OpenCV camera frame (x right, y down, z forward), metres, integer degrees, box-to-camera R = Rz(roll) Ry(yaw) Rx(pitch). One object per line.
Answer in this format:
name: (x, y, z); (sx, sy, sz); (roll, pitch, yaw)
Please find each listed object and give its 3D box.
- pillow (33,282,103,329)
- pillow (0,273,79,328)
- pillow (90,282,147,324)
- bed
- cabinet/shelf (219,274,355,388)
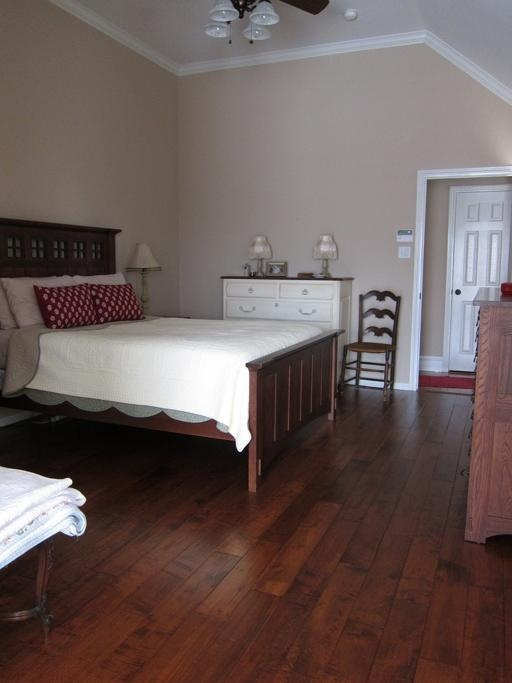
pillow: (-1.318, -0.245, 3.503); (0.130, 0.291, 0.463); (-18, -2, 22)
pillow: (-1.481, -0.327, 3.377); (0.133, 0.312, 0.496); (-25, -7, 32)
pillow: (-1.105, -0.309, 3.928); (0.127, 0.295, 0.473); (-22, -2, 18)
bed: (-0.651, -0.124, 3.622); (2.213, 1.544, 1.777); (3, 11, 24)
cabinet/shelf: (0.301, -0.115, 3.890); (1.058, 1.043, 0.420); (1, 2, 21)
